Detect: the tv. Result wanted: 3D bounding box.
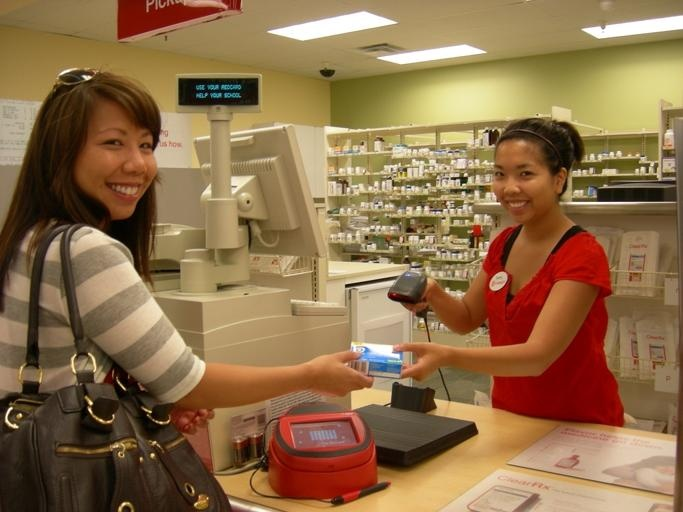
[{"bbox_3d":[-0.379,-0.241,2.034,0.570,0.498,0.312,3,11,35],"label":"tv"}]

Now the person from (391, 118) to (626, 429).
[{"bbox_3d":[0.618,0.064,1.800,0.780,1.120,0.595,-2,5,-11],"label":"person"}]

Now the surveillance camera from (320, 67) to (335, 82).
[{"bbox_3d":[-0.276,-3.654,10.076,0.290,0.103,0.279,0,-3,2],"label":"surveillance camera"}]
